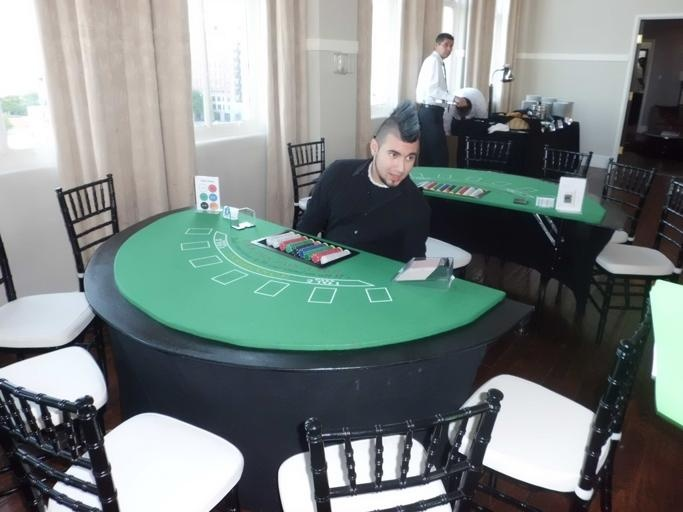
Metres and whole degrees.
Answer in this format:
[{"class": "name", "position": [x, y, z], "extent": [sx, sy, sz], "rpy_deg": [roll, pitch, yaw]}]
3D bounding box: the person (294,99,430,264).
[{"class": "person", "position": [0.129, -0.422, 2.635], "extent": [0.707, 0.838, 0.290], "rpy_deg": [10, 24, 22]}]
